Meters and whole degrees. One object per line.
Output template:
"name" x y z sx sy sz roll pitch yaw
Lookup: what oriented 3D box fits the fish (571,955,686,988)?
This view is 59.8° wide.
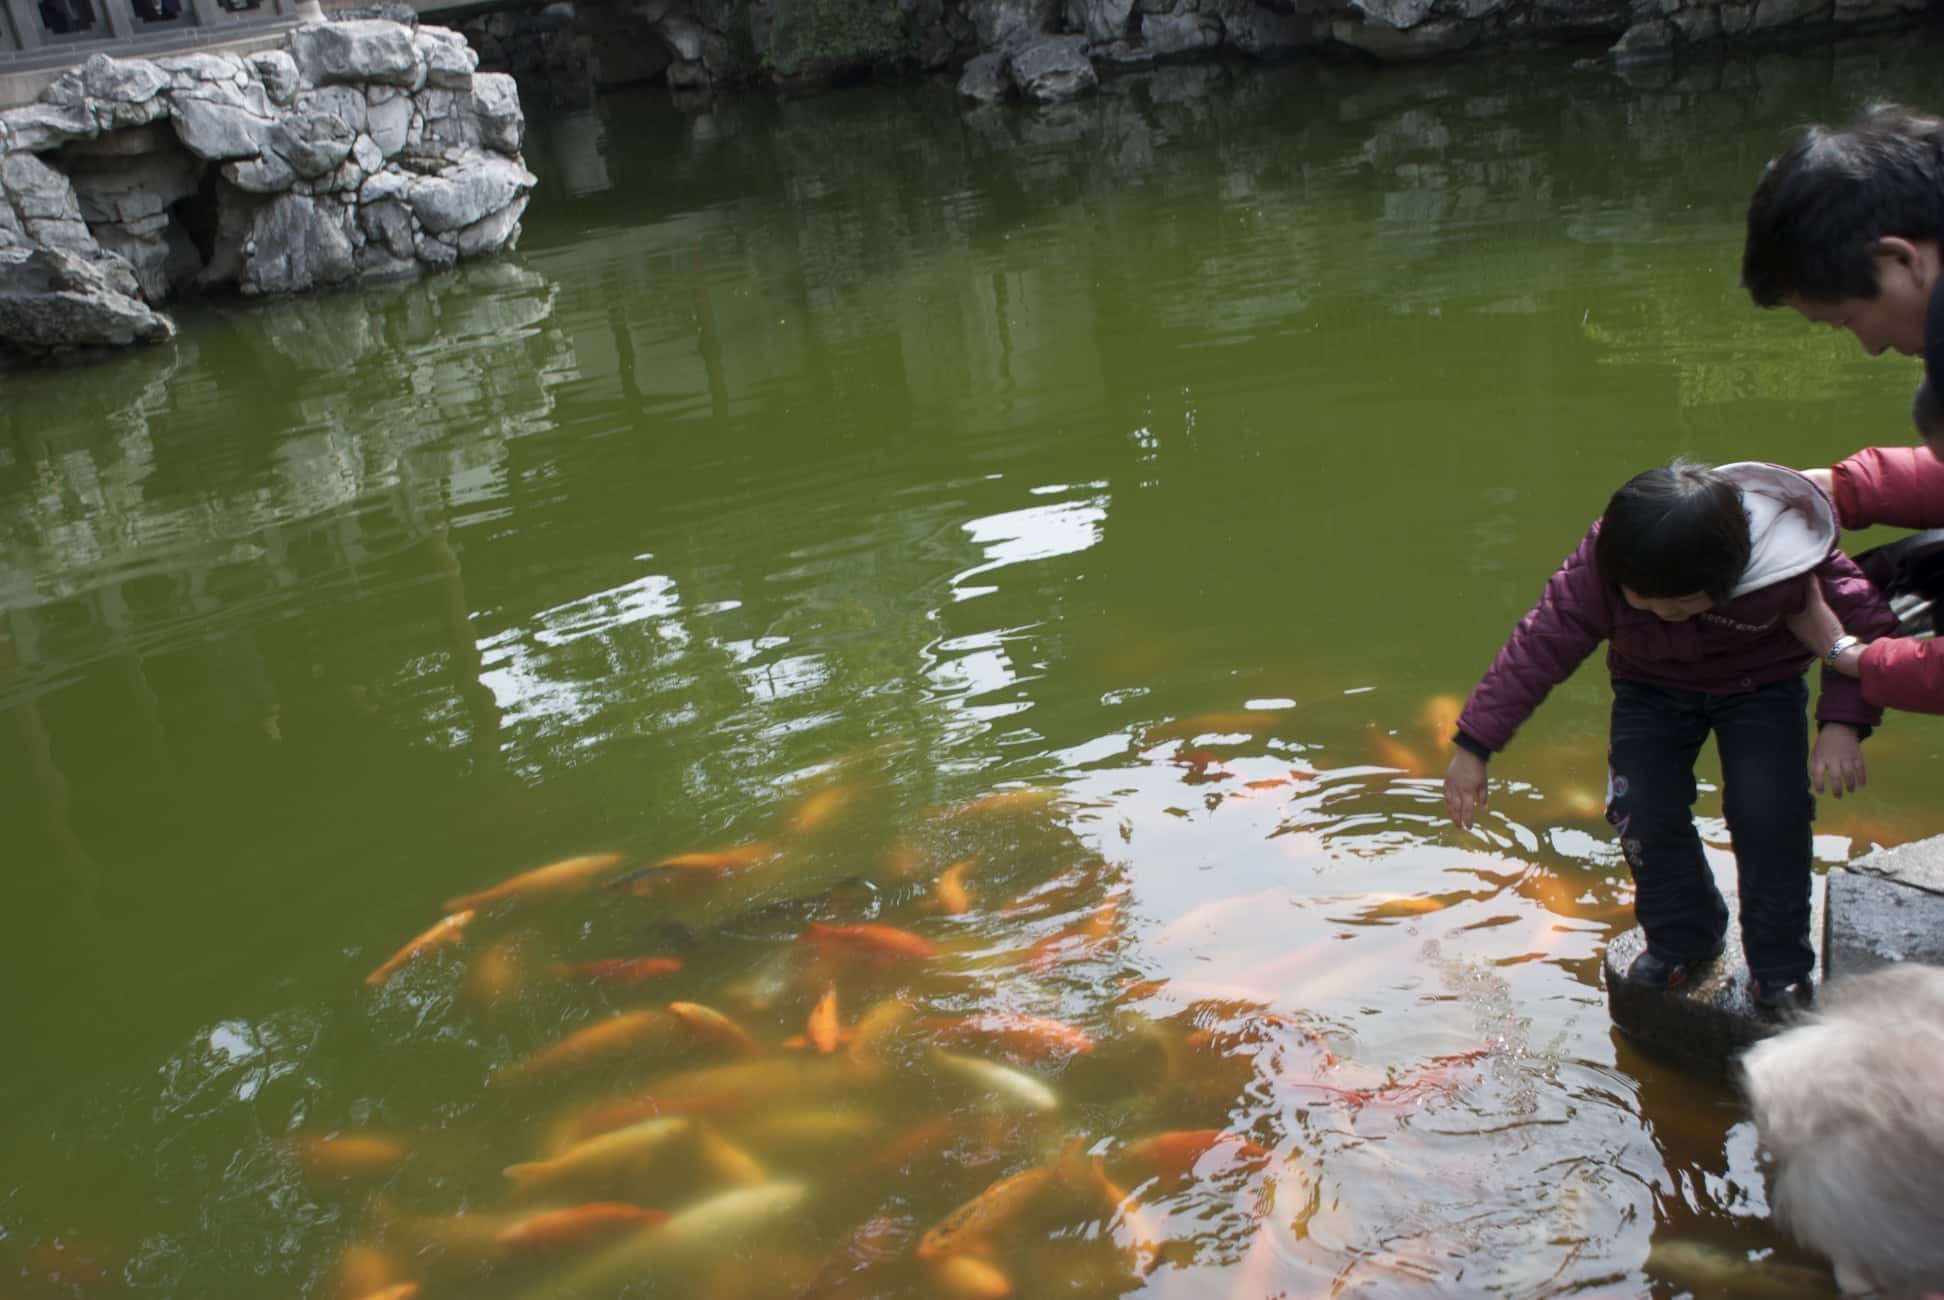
"fish" -1.285 1.208 6.336 0.256 0.061 0.101 0 16 9

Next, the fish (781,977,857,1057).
"fish" -0.538 1.313 5.996 0.185 0.207 0.067 -4 -27 -2

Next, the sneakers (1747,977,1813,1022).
"sneakers" 2.512 1.090 5.275 0.141 0.135 0.140 -3 1 5

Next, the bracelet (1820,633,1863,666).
"bracelet" 2.601 -0.001 5.088 0.067 0.102 0.096 41 16 21

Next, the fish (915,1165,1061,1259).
"fish" 0.043 1.771 5.329 0.361 0.042 0.204 -25 26 -23
